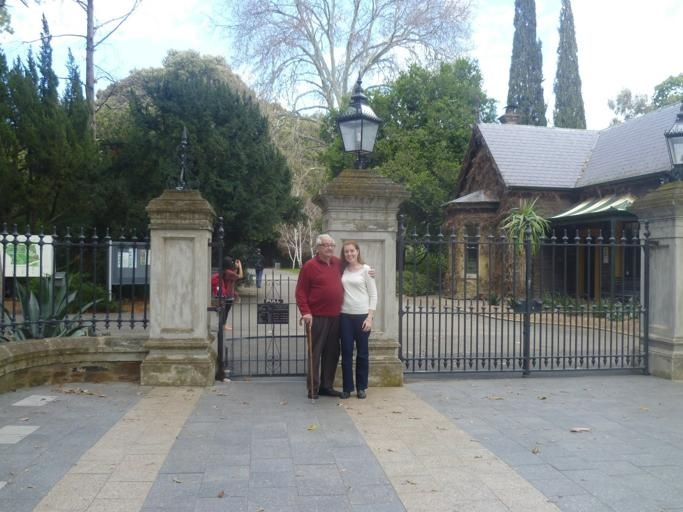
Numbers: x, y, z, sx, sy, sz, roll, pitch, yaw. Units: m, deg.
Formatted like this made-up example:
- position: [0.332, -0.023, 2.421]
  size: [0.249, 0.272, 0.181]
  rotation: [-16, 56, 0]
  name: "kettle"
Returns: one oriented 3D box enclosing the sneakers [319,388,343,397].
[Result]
- position: [-0.161, 2.083, 10.883]
  size: [0.351, 0.158, 0.135]
  rotation: [0, -3, 7]
  name: "sneakers"
